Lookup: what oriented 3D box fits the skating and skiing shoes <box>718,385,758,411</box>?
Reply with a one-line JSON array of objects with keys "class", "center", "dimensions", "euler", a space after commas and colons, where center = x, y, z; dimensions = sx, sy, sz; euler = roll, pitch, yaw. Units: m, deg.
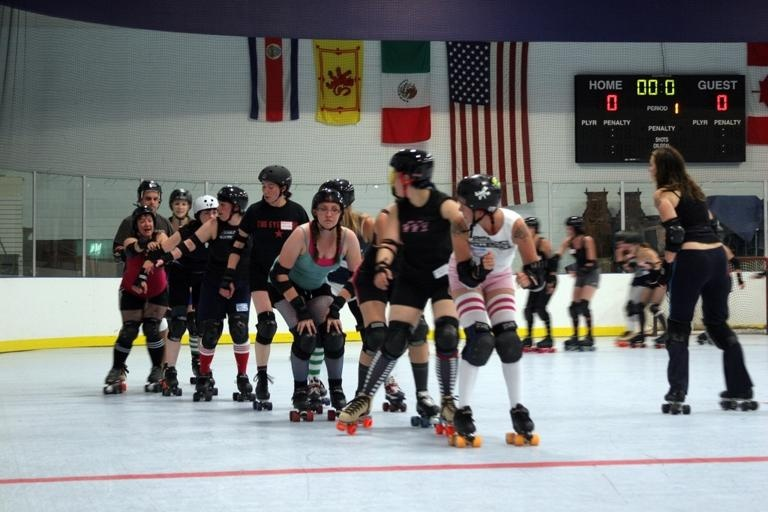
[{"class": "skating and skiing shoes", "center": [3.686, 1.476, 8.366], "dimensions": [0.348, 0.233, 0.241], "euler": [-1, -4, 15]}]

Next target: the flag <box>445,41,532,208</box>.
[{"class": "flag", "center": [2.513, -3.431, 19.169], "dimensions": [1.953, 4.044, 0.330], "euler": [-5, 6, -8]}]

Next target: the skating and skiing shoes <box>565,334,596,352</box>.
[{"class": "skating and skiing shoes", "center": [3.478, 1.541, 14.258], "dimensions": [0.505, 0.237, 0.252], "euler": [0, 2, 4]}]

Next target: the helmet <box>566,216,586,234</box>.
[{"class": "helmet", "center": [3.374, -0.528, 14.170], "dimensions": [0.258, 0.322, 0.415], "euler": [1, 2, 23]}]

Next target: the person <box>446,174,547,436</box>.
[{"class": "person", "center": [1.030, 0.447, 7.476], "dimensions": [0.881, 2.324, 0.835], "euler": [1, 0, 1]}]

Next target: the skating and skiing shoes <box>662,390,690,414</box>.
[{"class": "skating and skiing shoes", "center": [3.016, 1.517, 8.281], "dimensions": [0.170, 0.148, 0.329], "euler": [0, -4, 1]}]

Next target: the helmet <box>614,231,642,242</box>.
[{"class": "helmet", "center": [4.656, -0.354, 15.264], "dimensions": [0.409, 0.163, 0.389], "euler": [5, -3, 0]}]

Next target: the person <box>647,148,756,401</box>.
[{"class": "person", "center": [3.116, 0.170, 8.596], "dimensions": [0.995, 2.734, 1.373], "euler": [1, -5, 1]}]

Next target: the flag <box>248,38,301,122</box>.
[{"class": "flag", "center": [-2.574, -4.079, 18.688], "dimensions": [1.182, 1.922, 0.239], "euler": [-1, 2, -9]}]
